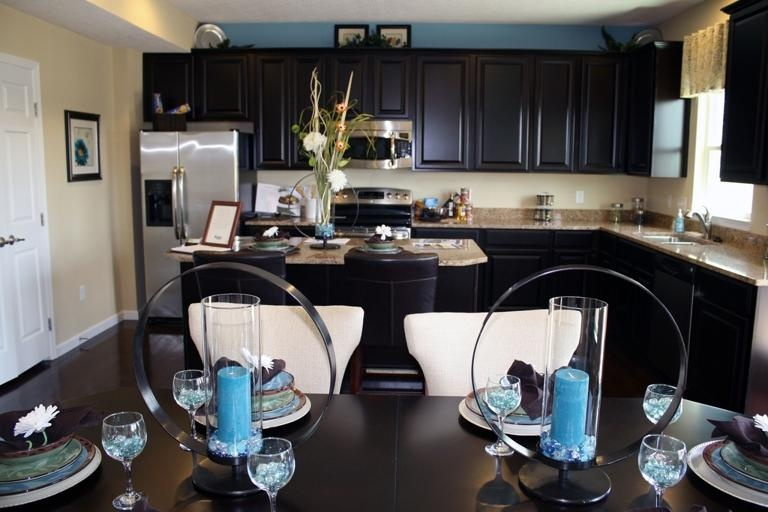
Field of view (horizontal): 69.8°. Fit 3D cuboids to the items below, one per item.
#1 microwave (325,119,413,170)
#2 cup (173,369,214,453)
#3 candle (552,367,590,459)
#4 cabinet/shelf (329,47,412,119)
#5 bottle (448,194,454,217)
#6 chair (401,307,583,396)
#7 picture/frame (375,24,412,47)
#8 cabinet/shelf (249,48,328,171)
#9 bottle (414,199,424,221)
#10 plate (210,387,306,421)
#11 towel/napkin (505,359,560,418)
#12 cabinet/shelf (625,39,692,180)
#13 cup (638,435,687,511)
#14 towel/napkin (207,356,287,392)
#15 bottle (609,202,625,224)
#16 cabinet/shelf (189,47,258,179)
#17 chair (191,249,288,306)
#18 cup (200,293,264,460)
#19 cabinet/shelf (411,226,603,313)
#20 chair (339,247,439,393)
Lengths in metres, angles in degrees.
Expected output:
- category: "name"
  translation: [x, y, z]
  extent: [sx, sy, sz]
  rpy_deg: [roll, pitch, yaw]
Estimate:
- category: "microwave"
  translation: [-0.001, -1.222, 6.098]
  extent: [0.831, 0.510, 0.529]
  rpy_deg: [4, 12, 19]
- category: "cup"
  translation: [-0.642, 0.538, 1.934]
  extent: [0.106, 0.222, 0.105]
  rpy_deg: [11, -9, 2]
- category: "candle"
  translation: [0.551, 0.462, 1.635]
  extent: [0.107, 0.268, 0.055]
  rpy_deg: [1, 10, 16]
- category: "cabinet/shelf"
  translation: [-0.136, -1.801, 5.986]
  extent: [0.881, 0.736, 0.309]
  rpy_deg: [1, 0, 2]
- category: "bottle"
  translation: [0.767, -0.572, 6.242]
  extent: [0.069, 0.239, 0.093]
  rpy_deg: [-1, 10, 7]
- category: "chair"
  translation: [0.403, 0.392, 2.403]
  extent: [0.561, 0.552, 0.476]
  rpy_deg: [1, 10, 0]
- category: "picture/frame"
  translation: [0.092, -2.386, 5.980]
  extent: [0.340, 0.242, 0.026]
  rpy_deg: [1, 3, -4]
- category: "cabinet/shelf"
  translation: [-0.995, -1.577, 6.145]
  extent: [0.790, 1.243, 0.627]
  rpy_deg: [3, 8, 13]
- category: "bottle"
  translation: [0.398, -0.518, 6.169]
  extent: [0.074, 0.204, 0.149]
  rpy_deg: [4, 0, 21]
- category: "plate"
  translation: [-0.412, 0.475, 1.772]
  extent: [0.191, 0.049, 0.188]
  rpy_deg: [-2, 7, -11]
- category: "towel/napkin"
  translation: [0.516, 0.504, 1.947]
  extent: [0.213, 0.054, 0.194]
  rpy_deg: [-32, 13, 28]
- category: "cabinet/shelf"
  translation: [2.644, -1.435, 5.462]
  extent: [0.313, 1.275, 0.684]
  rpy_deg: [-5, 10, -19]
- category: "cup"
  translation: [0.818, 0.641, 1.625]
  extent: [0.118, 0.202, 0.271]
  rpy_deg: [3, 11, 27]
- category: "towel/napkin"
  translation: [-0.433, 0.365, 1.714]
  extent: [0.172, 0.043, 0.170]
  rpy_deg: [6, 13, 9]
- category: "bottle"
  translation: [2.584, -0.487, 6.132]
  extent: [0.150, 0.201, 0.287]
  rpy_deg: [2, 10, 22]
- category: "cabinet/shelf"
  translation: [-1.664, -1.507, 6.219]
  extent: [0.614, 1.334, 0.642]
  rpy_deg: [5, 6, 13]
- category: "chair"
  translation: [-0.895, 0.083, 3.532]
  extent: [0.356, 0.491, 0.439]
  rpy_deg: [2, 13, 2]
- category: "cup"
  translation: [-0.492, 0.400, 1.695]
  extent: [0.191, 0.510, 0.193]
  rpy_deg: [2, -8, 0]
- category: "cabinet/shelf"
  translation: [1.144, 0.244, 5.956]
  extent: [2.420, 1.140, 0.655]
  rpy_deg: [1, 8, -26]
- category: "chair"
  translation: [0.073, 0.448, 3.514]
  extent: [0.648, 0.880, 0.624]
  rpy_deg: [0, 0, -16]
